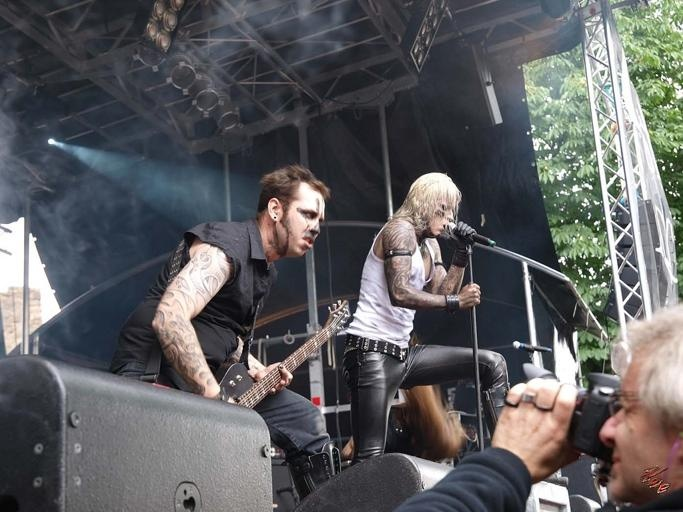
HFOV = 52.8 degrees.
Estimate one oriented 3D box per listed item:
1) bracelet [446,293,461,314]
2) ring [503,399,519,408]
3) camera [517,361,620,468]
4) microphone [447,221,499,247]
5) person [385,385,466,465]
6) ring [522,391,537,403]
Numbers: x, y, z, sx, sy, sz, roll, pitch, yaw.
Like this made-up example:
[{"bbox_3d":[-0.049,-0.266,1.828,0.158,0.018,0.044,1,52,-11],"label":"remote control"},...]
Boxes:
[{"bbox_3d":[0.639,0.266,3.919,0.075,0.111,0.100,-1,10,-4],"label":"bracelet"},{"bbox_3d":[0.460,0.394,1.849,0.040,0.019,0.042,-8,6,1],"label":"ring"},{"bbox_3d":[0.592,0.397,1.705,0.183,0.197,0.072,10,-2,41],"label":"camera"},{"bbox_3d":[0.943,-0.156,4.814,0.426,0.117,0.115,19,-40,34],"label":"microphone"},{"bbox_3d":[0.720,1.410,5.812,0.725,0.377,0.989,13,3,-9],"label":"person"},{"bbox_3d":[0.502,0.375,1.830,0.025,0.019,0.025,3,-7,0],"label":"ring"}]
